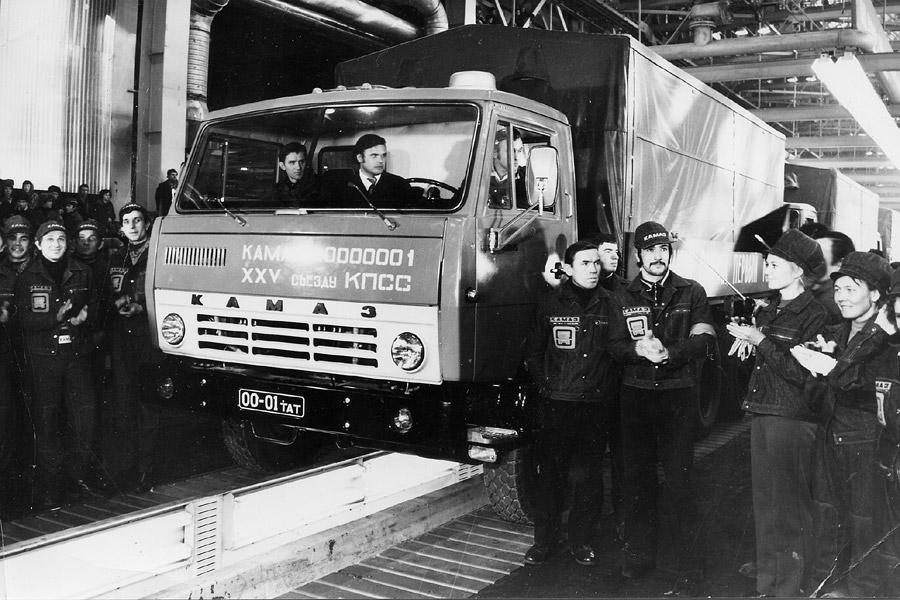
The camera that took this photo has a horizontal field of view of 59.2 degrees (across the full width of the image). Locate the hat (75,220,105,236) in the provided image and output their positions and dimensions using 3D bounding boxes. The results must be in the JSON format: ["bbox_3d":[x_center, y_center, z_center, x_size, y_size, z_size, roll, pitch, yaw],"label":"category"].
[{"bbox_3d":[-3.684,-0.713,8.154,0.190,0.114,0.266,4,-6,9],"label":"hat"}]

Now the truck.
[{"bbox_3d":[1.205,-0.730,8.792,3.190,3.709,7.618,0,2,37],"label":"truck"}]

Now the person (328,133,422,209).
[{"bbox_3d":[-0.559,-1.036,6.432,0.767,0.608,0.389,8,7,24],"label":"person"}]

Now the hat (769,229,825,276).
[{"bbox_3d":[2.466,-0.338,5.618,0.354,0.164,0.263,31,6,-6],"label":"hat"}]

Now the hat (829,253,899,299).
[{"bbox_3d":[2.768,-0.178,5.255,0.327,0.189,0.246,22,-12,-29],"label":"hat"}]
